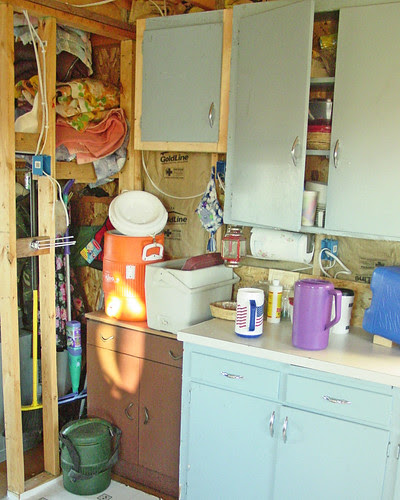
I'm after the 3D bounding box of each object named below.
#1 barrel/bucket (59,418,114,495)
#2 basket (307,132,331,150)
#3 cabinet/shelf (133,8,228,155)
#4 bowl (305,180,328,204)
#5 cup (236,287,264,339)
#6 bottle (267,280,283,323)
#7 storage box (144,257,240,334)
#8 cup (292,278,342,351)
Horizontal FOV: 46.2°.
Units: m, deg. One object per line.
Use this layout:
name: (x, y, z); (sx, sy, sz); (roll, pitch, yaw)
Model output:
barrel/bucket: (-0.553, 1.032, 2.343); (0.277, 0.335, 0.247); (-2, 9, -23)
basket: (0.480, -0.440, 1.894); (0.126, 0.085, 0.066); (8, 18, 29)
cabinet/shelf: (-0.022, -0.829, 2.410); (0.544, 0.603, 0.467); (7, 16, 15)
bowl: (0.477, -0.234, 1.920); (0.053, 0.095, 0.094); (-13, 14, -29)
cup: (0.200, 0.261, 1.901); (0.106, 0.178, 0.094); (2, 9, 3)
bottle: (0.333, 0.236, 2.139); (0.063, 0.192, 0.052); (7, 10, 32)
storage box: (-0.042, 0.117, 2.281); (0.329, 0.332, 0.486); (5, 7, 35)
cup: (0.433, 0.247, 1.759); (0.168, 0.246, 0.098); (4, 9, 13)
